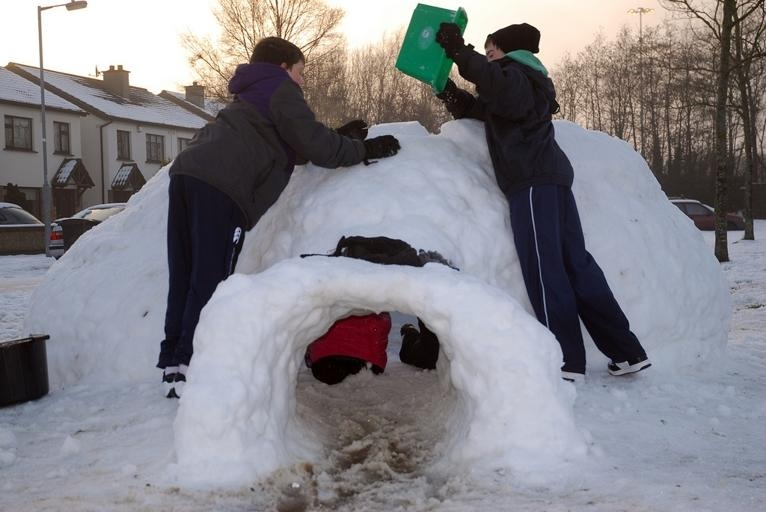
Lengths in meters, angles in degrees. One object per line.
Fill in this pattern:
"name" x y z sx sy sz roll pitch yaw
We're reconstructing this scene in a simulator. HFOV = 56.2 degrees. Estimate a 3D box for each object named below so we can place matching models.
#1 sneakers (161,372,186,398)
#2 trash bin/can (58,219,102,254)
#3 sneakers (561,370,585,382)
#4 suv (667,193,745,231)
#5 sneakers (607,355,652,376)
"sneakers" -1.661 1.012 5.665 0.148 0.229 0.320 -1 2 -19
"trash bin/can" -5.977 -0.436 13.939 0.699 0.585 0.644 -1 1 -18
"sneakers" 1.477 0.936 5.585 0.226 0.097 0.135 9 -4 -29
"suv" 9.203 -1.167 20.182 1.656 0.946 4.467 0 2 27
"sneakers" 1.979 0.903 5.772 0.149 0.153 0.358 -1 -11 -24
